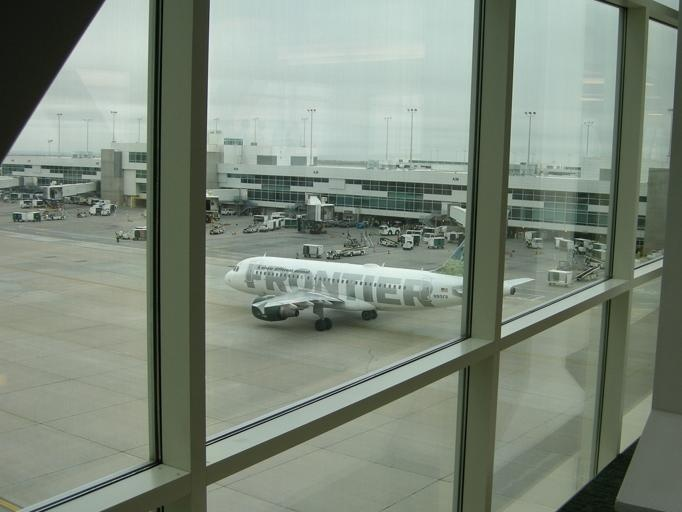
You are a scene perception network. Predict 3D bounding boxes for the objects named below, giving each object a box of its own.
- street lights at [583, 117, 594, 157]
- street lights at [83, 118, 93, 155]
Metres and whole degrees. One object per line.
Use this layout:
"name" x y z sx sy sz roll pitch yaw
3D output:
"street lights" 1.940 -0.923 5.199 0.115 0.292 0.033 -10 18 -39
"street lights" -0.950 -0.448 2.481 0.021 0.132 0.050 -5 15 -25
